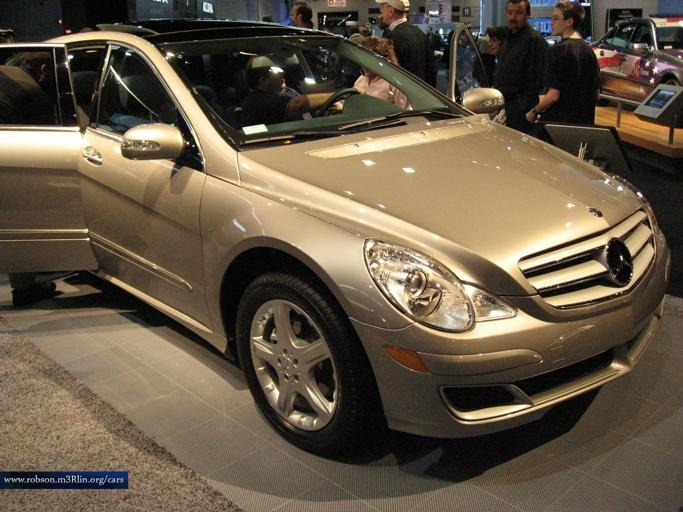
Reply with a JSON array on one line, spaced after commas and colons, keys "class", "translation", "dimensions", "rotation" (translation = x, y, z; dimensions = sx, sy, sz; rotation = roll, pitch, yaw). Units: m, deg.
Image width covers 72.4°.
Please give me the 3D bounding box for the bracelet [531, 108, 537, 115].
[{"class": "bracelet", "translation": [2.073, -1.548, 5.058], "dimensions": [0.047, 0.045, 0.016], "rotation": [-1, -10, 45]}]
